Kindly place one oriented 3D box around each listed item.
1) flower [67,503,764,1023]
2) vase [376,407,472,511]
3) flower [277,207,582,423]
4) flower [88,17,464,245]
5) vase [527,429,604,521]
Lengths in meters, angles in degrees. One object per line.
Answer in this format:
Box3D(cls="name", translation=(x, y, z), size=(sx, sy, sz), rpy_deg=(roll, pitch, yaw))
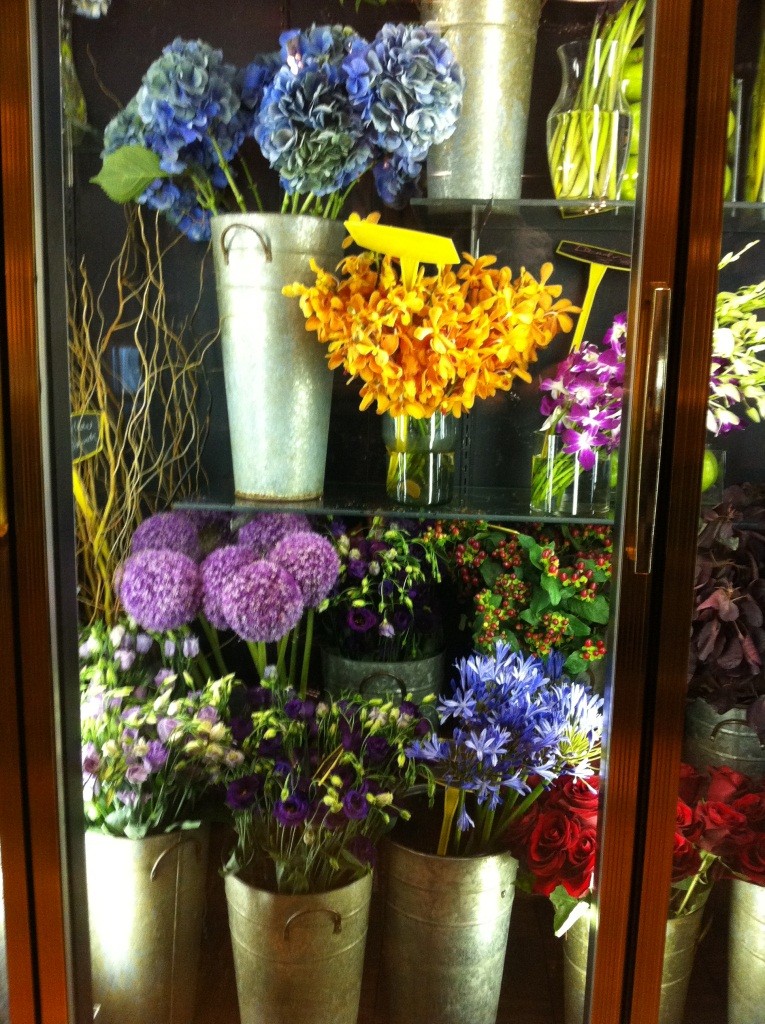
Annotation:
Box3D(cls="flower", translation=(0.040, 0.323, 1.187), size=(0.812, 0.300, 0.562), rpy_deg=(0, -2, 5))
Box3D(cls="vase", translation=(0.050, -0.082, 1.084), size=(0.097, 0.150, 0.092), rpy_deg=(-2, 5, -29))
Box3D(cls="flower", translation=(0.059, -0.224, 1.005), size=(0.328, 0.225, 0.218), rpy_deg=(6, 3, -10))
Box3D(cls="flower", translation=(-0.121, -0.428, 0.904), size=(0.283, 0.196, 0.259), rpy_deg=(0, 33, 8))
Box3D(cls="vase", translation=(0.242, -0.044, 1.078), size=(0.096, 0.105, 0.095), rpy_deg=(2, 7, 26))
